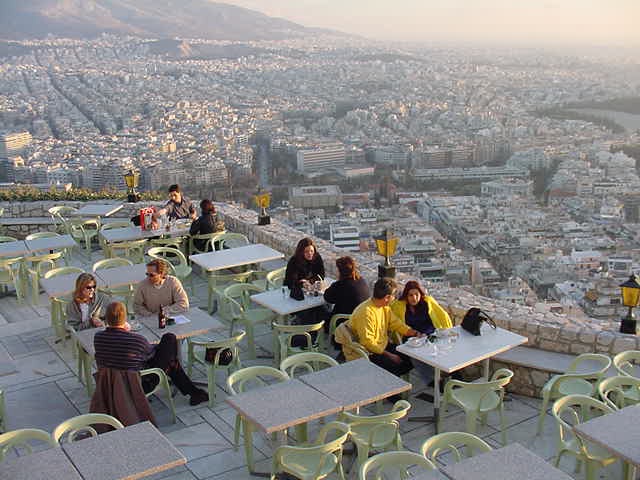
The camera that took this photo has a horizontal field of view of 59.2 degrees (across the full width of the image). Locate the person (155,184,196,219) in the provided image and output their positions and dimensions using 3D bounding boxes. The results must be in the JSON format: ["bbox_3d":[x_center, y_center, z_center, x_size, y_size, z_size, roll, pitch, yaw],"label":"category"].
[{"bbox_3d":[-2.451,-0.600,9.796,0.647,0.840,0.606,-6,20,-14],"label":"person"}]

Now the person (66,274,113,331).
[{"bbox_3d":[-2.526,0.843,6.208,0.492,0.836,0.427,-5,2,-18],"label":"person"}]

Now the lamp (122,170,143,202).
[{"bbox_3d":[-4.011,-1.167,12.059,0.281,0.769,0.685,-8,21,-18],"label":"lamp"}]

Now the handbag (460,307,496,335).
[{"bbox_3d":[1.618,0.817,5.748,0.313,0.198,0.299,1,4,0],"label":"handbag"}]

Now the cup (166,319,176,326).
[{"bbox_3d":[-1.536,0.840,5.810,0.073,0.048,0.070,1,6,0],"label":"cup"}]
